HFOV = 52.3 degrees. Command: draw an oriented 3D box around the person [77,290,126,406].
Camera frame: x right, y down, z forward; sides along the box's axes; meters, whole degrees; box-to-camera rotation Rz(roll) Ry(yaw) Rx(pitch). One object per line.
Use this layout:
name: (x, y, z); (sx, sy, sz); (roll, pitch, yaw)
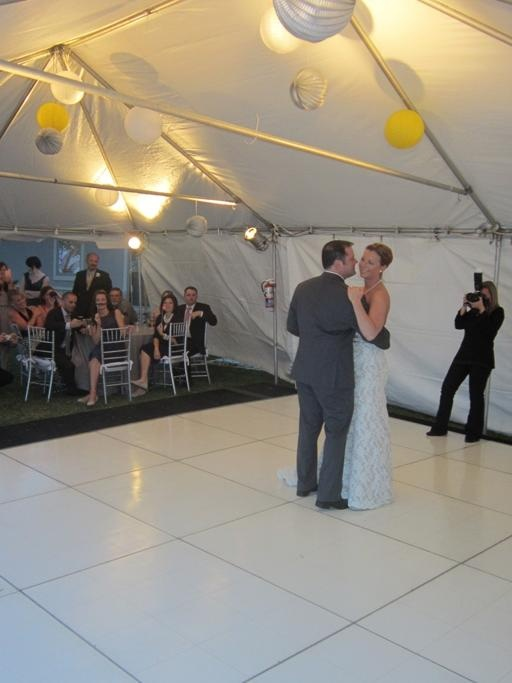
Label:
person: (-2.041, 0.075, 6.871); (0.591, 1.447, 0.971); (2, 3, 19)

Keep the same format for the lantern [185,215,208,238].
lantern: (-0.847, -1.683, 7.616); (0.256, 0.302, 0.394); (1, 3, 7)

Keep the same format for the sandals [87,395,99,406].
sandals: (-2.068, 0.753, 6.547); (0.124, 0.122, 0.294); (0, 3, -12)

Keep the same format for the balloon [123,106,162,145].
balloon: (-0.985, -1.901, 4.561); (0.305, 0.276, 0.243); (1, 3, 2)

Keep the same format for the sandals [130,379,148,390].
sandals: (-1.590, 0.609, 7.165); (0.247, 0.094, 0.061); (28, 36, 8)

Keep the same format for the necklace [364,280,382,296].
necklace: (0.779, -0.340, 3.371); (0.123, 0.030, 0.094); (-37, 11, -10)

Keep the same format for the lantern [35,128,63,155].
lantern: (-1.903, -1.829, 4.842); (0.259, 0.233, 0.255); (3, 16, -18)

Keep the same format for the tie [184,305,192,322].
tie: (-1.040, -0.419, 8.034); (0.127, 0.249, 0.210); (1, 3, -5)

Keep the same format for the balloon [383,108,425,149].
balloon: (1.066, -1.562, 3.780); (0.204, 0.295, 0.252); (0, 3, -27)

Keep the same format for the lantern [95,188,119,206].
lantern: (-2.056, -1.987, 7.200); (0.242, 0.182, 0.346); (1, 3, 2)

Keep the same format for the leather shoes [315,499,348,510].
leather shoes: (0.512, 1.059, 3.390); (0.092, 0.042, 0.125); (7, -15, -43)

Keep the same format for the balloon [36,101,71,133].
balloon: (-1.745, -1.910, 4.436); (0.229, 0.211, 0.180); (2, 3, 10)

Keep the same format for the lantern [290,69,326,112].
lantern: (0.348, -1.689, 3.509); (0.254, 0.242, 0.167); (-6, 13, 7)

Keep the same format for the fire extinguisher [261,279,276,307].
fire extinguisher: (0.190, -0.690, 7.740); (0.254, 0.414, 0.153); (2, 3, 23)

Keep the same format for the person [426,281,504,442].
person: (2.099, 0.214, 5.127); (0.512, 1.581, 0.554); (0, 3, -23)

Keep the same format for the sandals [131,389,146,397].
sandals: (-1.599, 0.707, 7.125); (0.181, 0.098, 0.241); (0, 3, -13)

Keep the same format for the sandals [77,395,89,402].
sandals: (-2.224, 0.748, 6.689); (0.058, 0.063, 0.156); (15, -12, -37)

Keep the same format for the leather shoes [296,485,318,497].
leather shoes: (0.354, 1.053, 3.635); (0.159, 0.062, 0.055); (2, -2, -18)

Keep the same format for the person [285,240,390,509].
person: (0.509, 0.234, 3.391); (0.701, 1.745, 0.598); (2, 3, 19)

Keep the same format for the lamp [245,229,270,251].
lamp: (0.038, -1.468, 7.547); (0.207, 0.302, 0.487); (3, 4, 37)
